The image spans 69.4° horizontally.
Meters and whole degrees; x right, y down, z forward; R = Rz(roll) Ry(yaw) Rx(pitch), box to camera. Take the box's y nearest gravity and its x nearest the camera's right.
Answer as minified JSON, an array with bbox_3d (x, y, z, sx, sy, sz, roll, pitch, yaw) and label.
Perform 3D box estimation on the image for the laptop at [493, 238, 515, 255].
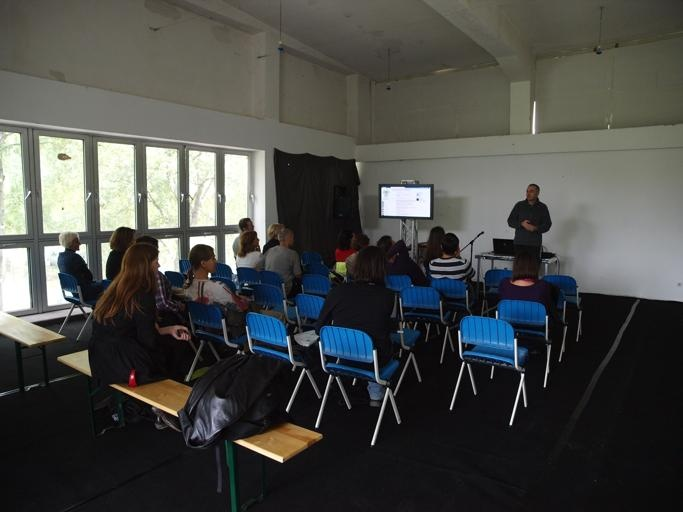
[{"bbox_3d":[2.619,-0.139,7.937,0.314,0.237,0.230,2,-11,33],"label":"laptop"}]

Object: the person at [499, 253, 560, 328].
[{"bbox_3d":[1.965,0.296,5.214,0.575,0.877,0.466,8,26,35],"label":"person"}]

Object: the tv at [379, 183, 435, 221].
[{"bbox_3d":[1.235,-1.032,9.487,1.074,0.684,0.062,3,14,21],"label":"tv"}]
